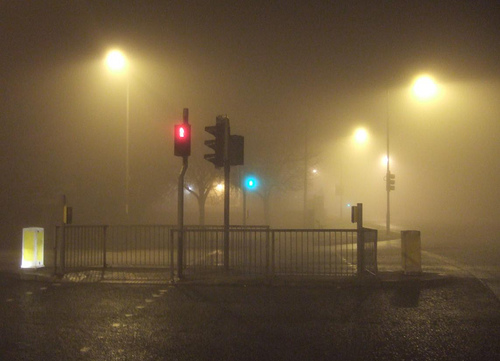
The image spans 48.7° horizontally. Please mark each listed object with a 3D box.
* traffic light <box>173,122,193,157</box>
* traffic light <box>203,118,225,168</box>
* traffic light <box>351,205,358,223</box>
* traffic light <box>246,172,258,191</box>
[{"bbox_3d":[-2.171,-1.345,18.022,0.540,1.143,0.808,0,1,-9],"label":"traffic light"},{"bbox_3d":[-1.129,-1.238,18.061,0.598,1.618,0.655,0,1,-15],"label":"traffic light"},{"bbox_3d":[3.307,1.043,17.350,0.179,0.573,0.739,0,1,9],"label":"traffic light"},{"bbox_3d":[0.034,0.000,31.344,0.805,1.041,1.032,2,-7,1],"label":"traffic light"}]
